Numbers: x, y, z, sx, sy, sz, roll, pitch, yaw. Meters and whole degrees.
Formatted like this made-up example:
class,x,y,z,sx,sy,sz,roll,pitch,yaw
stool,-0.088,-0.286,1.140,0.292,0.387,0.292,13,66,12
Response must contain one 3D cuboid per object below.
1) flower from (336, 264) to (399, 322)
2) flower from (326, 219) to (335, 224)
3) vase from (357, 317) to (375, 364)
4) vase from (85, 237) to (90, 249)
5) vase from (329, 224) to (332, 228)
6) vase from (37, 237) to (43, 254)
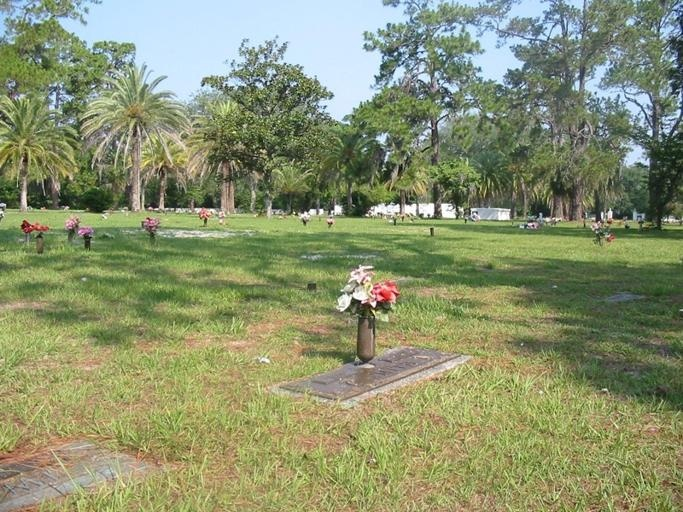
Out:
class,x,y,z,sx,sy,sz,roll,pitch,yaw
flower,0.273,0.541,7.087,0.605,0.689,0.610,-10,-5,33
flower,-0.674,-2.044,35.354,0.383,0.253,0.553,-1,6,-1
vase,0.280,0.979,6.967,0.184,0.590,0.180,3,11,13
vase,-6.513,-0.323,15.502,0.099,0.320,0.235,-1,11,-6
vase,-0.687,-1.805,35.659,0.204,0.288,0.158,-4,20,-22
vase,-7.346,-0.265,14.727,0.113,0.353,0.312,-4,12,-21
